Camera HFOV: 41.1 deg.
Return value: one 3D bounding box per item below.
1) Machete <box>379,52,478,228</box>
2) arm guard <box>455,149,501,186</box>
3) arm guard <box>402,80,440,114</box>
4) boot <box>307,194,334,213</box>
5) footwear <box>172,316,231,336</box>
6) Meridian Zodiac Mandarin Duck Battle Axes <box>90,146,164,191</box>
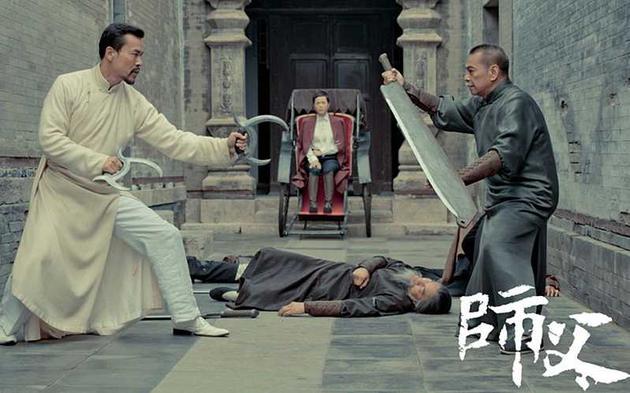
[{"bbox_3d":[0.997,-0.454,7.936,0.485,2.072,0.250,-14,-34,-7],"label":"Machete"},{"bbox_3d":[1.458,-0.247,7.571,0.415,0.217,0.148,-26,-2,-10],"label":"arm guard"},{"bbox_3d":[1.027,-0.985,8.354,0.363,0.123,0.141,15,32,25],"label":"arm guard"},{"bbox_3d":[0.108,0.133,13.550,0.368,0.224,0.492,0,12,1],"label":"boot"},{"bbox_3d":[-1.047,1.230,7.936,0.613,0.246,0.192,0,-4,1],"label":"footwear"},{"bbox_3d":[-1.706,-0.223,8.015,0.464,0.626,0.707,2,-4,-13],"label":"Meridian Zodiac Mandarin Duck Battle Axes"}]
